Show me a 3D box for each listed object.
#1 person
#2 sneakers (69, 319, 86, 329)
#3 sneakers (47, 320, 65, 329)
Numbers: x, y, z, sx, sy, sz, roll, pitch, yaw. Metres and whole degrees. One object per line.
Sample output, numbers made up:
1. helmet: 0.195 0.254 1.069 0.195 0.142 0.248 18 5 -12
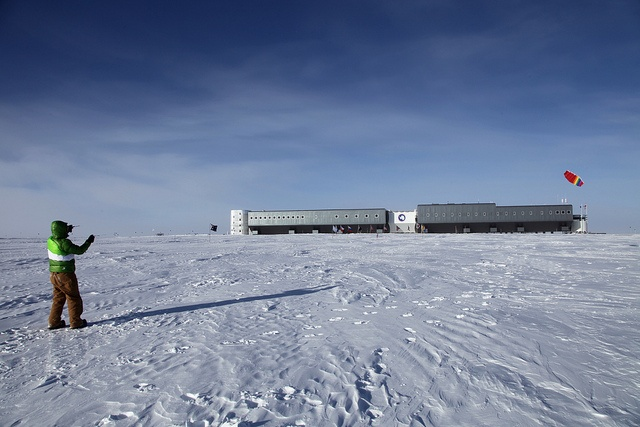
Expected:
1. person: -6.814 1.605 11.260 0.908 2.836 1.219 0 -1 -42
2. sneakers: -6.436 2.902 11.086 0.178 0.185 0.456 2 3 27
3. sneakers: -7.028 2.941 11.115 0.399 0.164 0.251 0 -1 -33
